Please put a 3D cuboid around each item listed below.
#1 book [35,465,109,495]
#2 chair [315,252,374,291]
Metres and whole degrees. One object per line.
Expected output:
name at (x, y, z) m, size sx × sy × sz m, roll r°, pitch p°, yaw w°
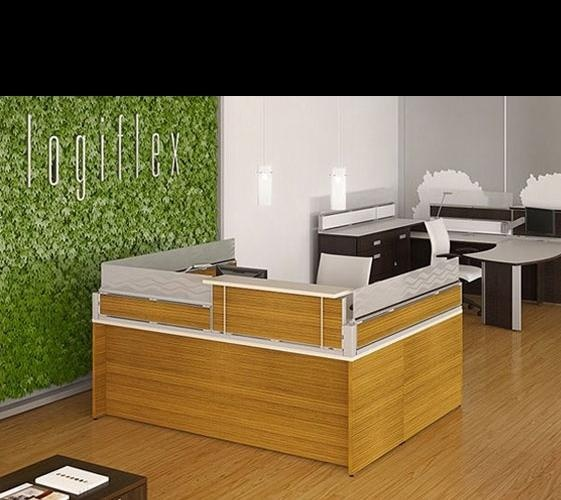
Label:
book at (-1.154, 1.288, 2.811) m, size 0.196 × 0.021 × 0.153 m, roll 5°, pitch 6°, yaw 30°
chair at (0.709, 0.183, 5.499) m, size 0.382 × 0.709 × 0.453 m, roll 6°, pitch 2°, yaw 25°
